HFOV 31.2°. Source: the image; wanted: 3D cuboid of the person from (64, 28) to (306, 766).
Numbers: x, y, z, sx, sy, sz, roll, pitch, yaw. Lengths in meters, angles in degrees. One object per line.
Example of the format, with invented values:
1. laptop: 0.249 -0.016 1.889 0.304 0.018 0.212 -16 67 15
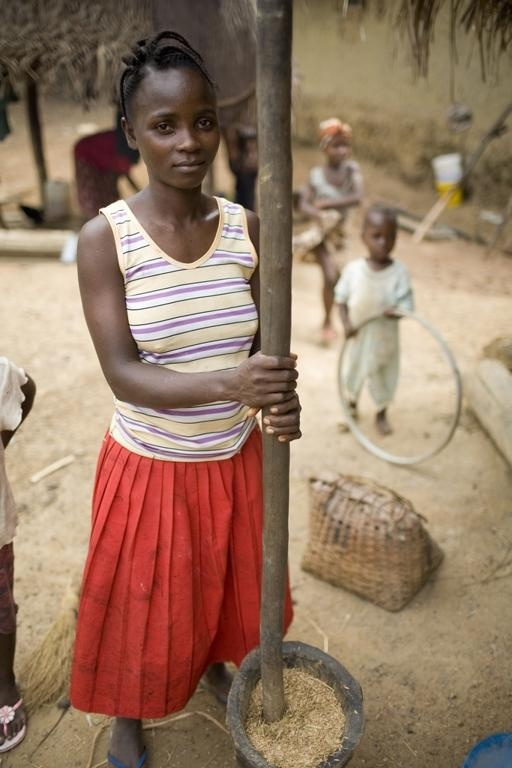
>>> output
1. person: -0.186 0.161 2.314 0.580 1.944 0.518 2 28 1

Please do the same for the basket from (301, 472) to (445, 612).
1. basket: 0.366 0.481 2.800 0.231 0.370 0.408 -38 44 -28
